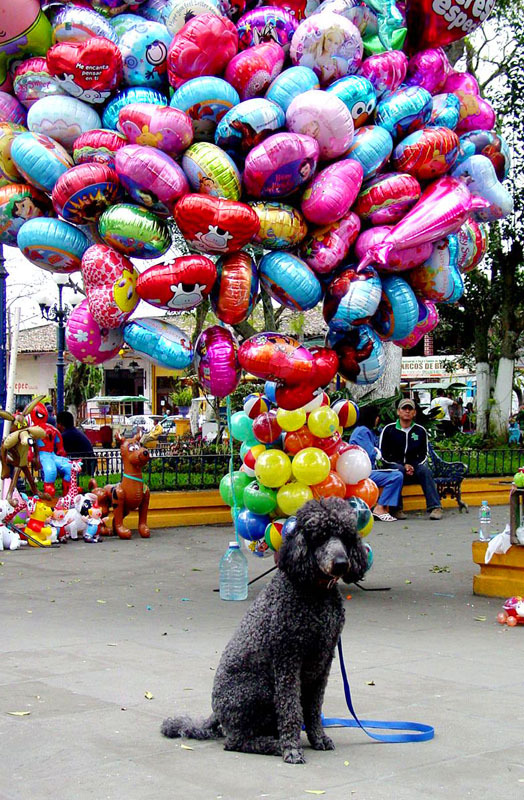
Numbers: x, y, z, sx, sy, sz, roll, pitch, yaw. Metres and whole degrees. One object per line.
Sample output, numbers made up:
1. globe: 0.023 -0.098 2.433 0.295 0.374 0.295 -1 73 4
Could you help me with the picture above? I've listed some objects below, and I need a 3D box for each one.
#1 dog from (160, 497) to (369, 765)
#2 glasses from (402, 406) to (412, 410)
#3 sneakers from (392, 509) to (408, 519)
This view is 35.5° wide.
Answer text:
1. dog: 0.158 0.952 3.381 0.381 1.088 0.681 3 -3 -43
2. glasses: 2.276 0.150 12.680 0.062 0.054 0.059 6 -9 -34
3. sneakers: 2.398 2.018 14.236 0.259 0.220 0.129 0 -2 20
